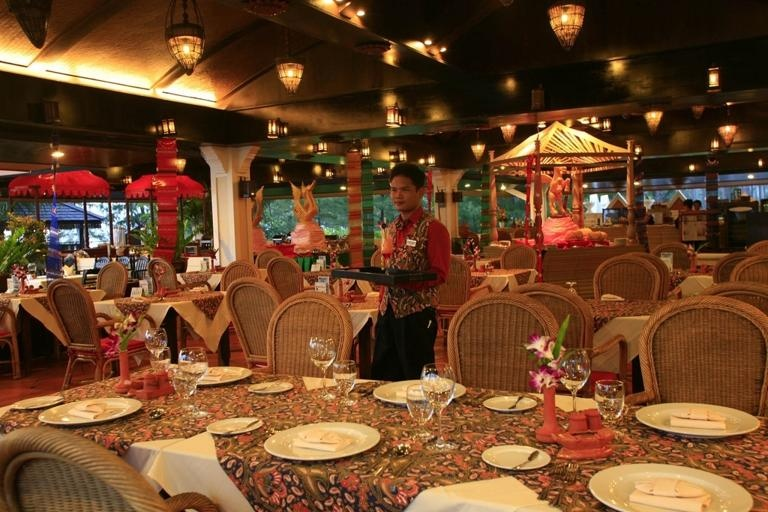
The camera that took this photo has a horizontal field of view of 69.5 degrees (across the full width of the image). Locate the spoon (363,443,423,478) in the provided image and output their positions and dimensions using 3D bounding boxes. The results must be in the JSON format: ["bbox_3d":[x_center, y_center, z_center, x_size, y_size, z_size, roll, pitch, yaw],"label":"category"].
[{"bbox_3d":[0.045,0.647,1.780,0.100,0.037,0.244,1,5,28],"label":"spoon"}]

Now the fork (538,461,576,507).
[{"bbox_3d":[0.519,0.651,1.636,0.051,0.020,0.184,-12,20,28],"label":"fork"}]

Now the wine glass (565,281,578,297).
[{"bbox_3d":[1.457,0.253,4.306,0.104,0.103,0.101,-3,45,2],"label":"wine glass"}]

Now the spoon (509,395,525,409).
[{"bbox_3d":[0.524,0.578,2.181,0.023,0.020,0.175,15,16,22],"label":"spoon"}]
